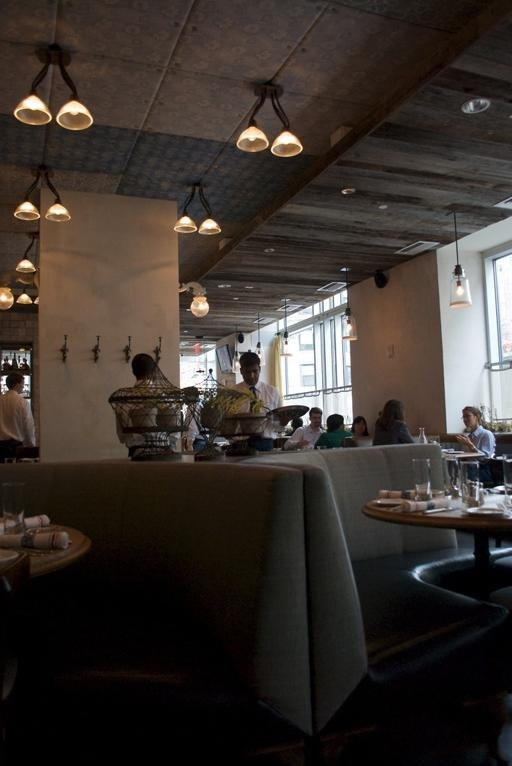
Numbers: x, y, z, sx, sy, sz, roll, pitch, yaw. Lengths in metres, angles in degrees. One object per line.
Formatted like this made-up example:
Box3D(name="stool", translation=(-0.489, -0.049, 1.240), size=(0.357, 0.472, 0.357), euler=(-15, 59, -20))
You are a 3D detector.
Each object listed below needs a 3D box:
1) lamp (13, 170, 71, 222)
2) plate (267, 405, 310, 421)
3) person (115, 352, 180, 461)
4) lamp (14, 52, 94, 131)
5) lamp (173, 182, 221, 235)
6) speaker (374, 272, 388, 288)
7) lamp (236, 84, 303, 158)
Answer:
Box3D(name="lamp", translation=(-1.495, -1.331, 4.280), size=(0.362, 0.327, 0.168), euler=(-1, 2, -20))
Box3D(name="plate", translation=(0.127, 0.121, 2.526), size=(0.147, 0.078, 0.247), euler=(1, 2, 2))
Box3D(name="person", translation=(-0.515, 0.129, 2.963), size=(0.346, 0.544, 1.284), euler=(1, 2, -12))
Box3D(name="lamp", translation=(-0.995, -1.489, 3.045), size=(0.352, 0.378, 0.148), euler=(1, -7, -20))
Box3D(name="lamp", translation=(-0.435, -1.330, 4.606), size=(0.399, 0.334, 0.170), euler=(13, 27, 22))
Box3D(name="speaker", translation=(1.607, -1.346, 7.909), size=(0.137, 0.247, 0.184), euler=(5, -7, -25))
Box3D(name="lamp", translation=(0.079, -1.472, 3.385), size=(0.399, 0.342, 0.161), euler=(15, 46, 18))
